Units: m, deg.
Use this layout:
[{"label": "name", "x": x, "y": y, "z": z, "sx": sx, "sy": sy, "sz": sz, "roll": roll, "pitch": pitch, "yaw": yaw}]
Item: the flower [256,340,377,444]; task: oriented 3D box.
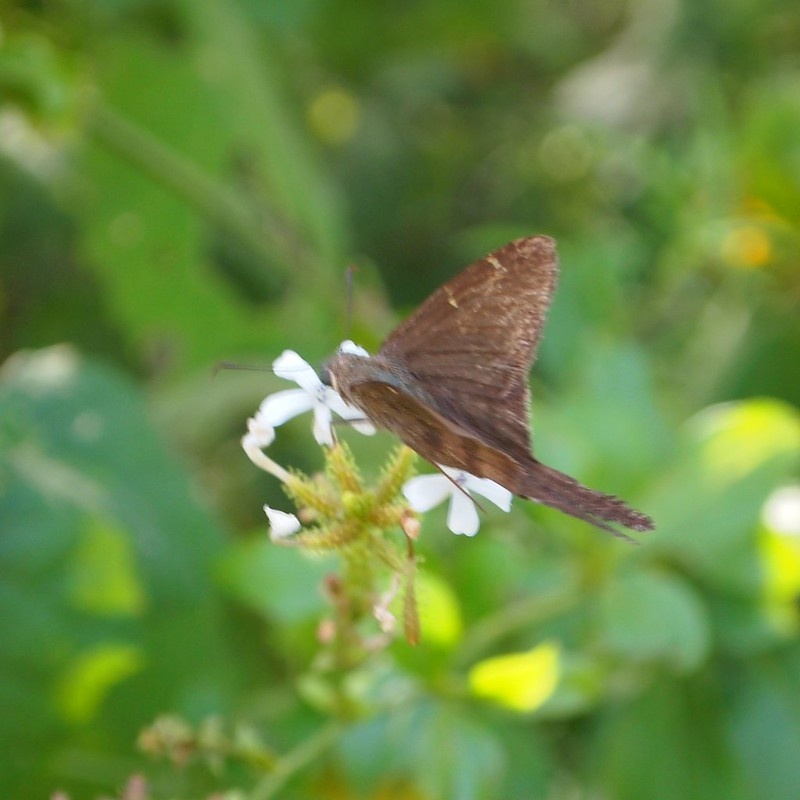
[{"label": "flower", "x": -0.227, "y": -0.002, "z": 2.075, "sx": 0.249, "sy": 0.116, "sz": 0.276, "roll": 26, "pitch": 23, "yaw": 36}]
